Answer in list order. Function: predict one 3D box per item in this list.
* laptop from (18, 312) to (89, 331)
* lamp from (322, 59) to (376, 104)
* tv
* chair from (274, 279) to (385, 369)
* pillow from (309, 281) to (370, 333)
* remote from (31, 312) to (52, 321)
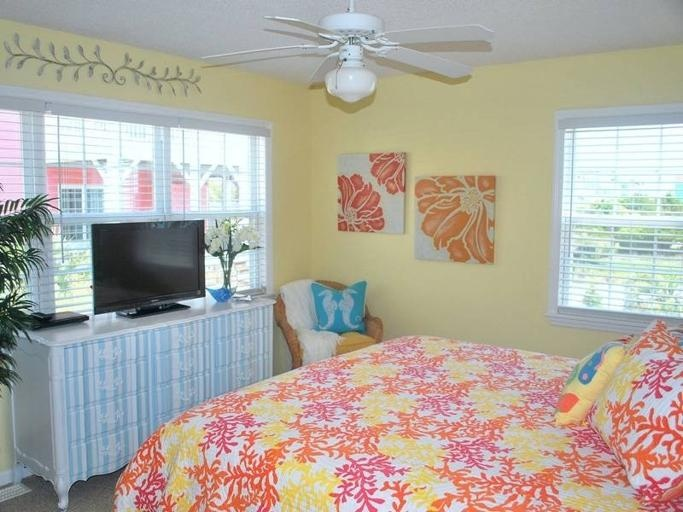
[{"bbox_3d":[-1.960,0.420,3.375,0.370,0.086,0.279,-8,12,-42],"label":"laptop"},{"bbox_3d":[0.040,-0.807,2.319,0.208,0.132,0.204,0,3,22],"label":"lamp"},{"bbox_3d":[-1.483,0.094,3.659,0.198,0.594,0.874,0,3,43],"label":"tv"},{"bbox_3d":[-0.126,0.568,4.820,0.951,0.898,0.930,-2,-1,-24],"label":"chair"},{"bbox_3d":[-0.023,0.494,4.625,0.556,0.448,0.190,0,-19,-3],"label":"pillow"},{"bbox_3d":[-2.026,0.401,3.303,0.090,0.021,0.054,10,6,37],"label":"remote"}]
